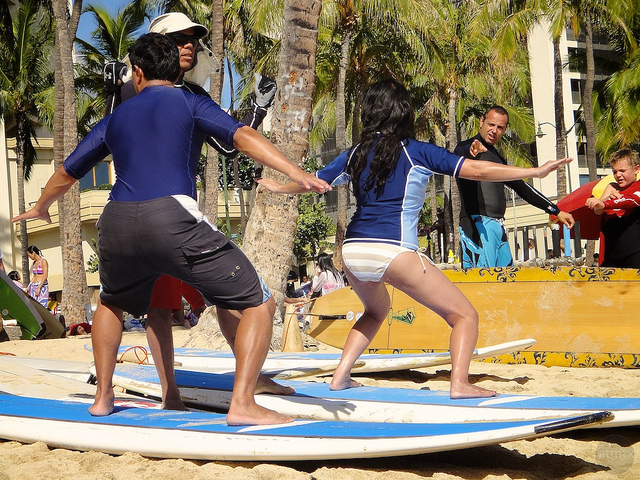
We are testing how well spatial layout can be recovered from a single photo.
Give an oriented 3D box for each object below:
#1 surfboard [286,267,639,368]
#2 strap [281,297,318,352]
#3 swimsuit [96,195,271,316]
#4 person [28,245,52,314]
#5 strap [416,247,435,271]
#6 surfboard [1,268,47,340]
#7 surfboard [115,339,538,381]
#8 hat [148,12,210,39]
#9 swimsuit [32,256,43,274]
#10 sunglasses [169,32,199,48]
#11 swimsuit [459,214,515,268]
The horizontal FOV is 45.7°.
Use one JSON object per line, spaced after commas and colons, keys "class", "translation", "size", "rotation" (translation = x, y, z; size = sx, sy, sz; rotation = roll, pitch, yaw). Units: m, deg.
{"class": "surfboard", "translation": [1.823, 0.845, 9.268], "size": [4.406, 1.318, 0.506], "rotation": [0, 0, 28]}
{"class": "strap", "translation": [-0.289, 1.181, 10.614], "size": [0.373, 0.818, 0.039], "rotation": [30, 24, 17]}
{"class": "swimsuit", "translation": [-1.163, 0.116, 5.771], "size": [1.381, 1.005, 0.710], "rotation": [-1, 11, 15]}
{"class": "person", "translation": [-5.731, 0.976, 15.440], "size": [0.397, 1.652, 0.497], "rotation": [2, 4, 29]}
{"class": "strap", "translation": [0.813, 0.142, 6.033], "size": [0.055, 0.178, 0.125], "rotation": [-34, -17, 37]}
{"class": "surfboard", "translation": [-4.745, 1.076, 12.166], "size": [0.256, 1.106, 0.583], "rotation": [-32, 20, 17]}
{"class": "surfboard", "translation": [0.207, 1.199, 7.538], "size": [3.863, 0.359, 0.620], "rotation": [-3, -5, 26]}
{"class": "hat", "translation": [-1.095, -1.684, 5.934], "size": [0.448, 0.229, 0.301], "rotation": [-1, 2, -14]}
{"class": "swimsuit", "translation": [-5.654, 0.509, 15.459], "size": [0.222, 0.335, 0.134], "rotation": [-1, -11, 34]}
{"class": "sunglasses", "translation": [-1.042, -1.554, 5.917], "size": [0.269, 0.099, 0.094], "rotation": [-3, 3, -42]}
{"class": "swimsuit", "translation": [1.861, 0.090, 8.506], "size": [0.561, 0.808, 0.423], "rotation": [-6, 5, -37]}
